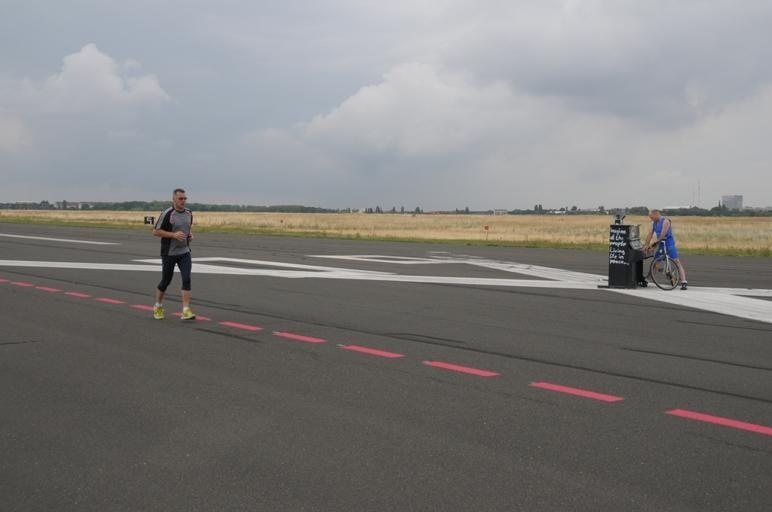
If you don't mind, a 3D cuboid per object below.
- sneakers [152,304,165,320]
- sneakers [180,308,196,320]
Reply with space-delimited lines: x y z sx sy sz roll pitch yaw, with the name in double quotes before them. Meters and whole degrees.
"sneakers" -4.647 1.153 11.108 0.186 0.210 0.449 2 -3 -34
"sneakers" -3.990 1.169 10.923 0.171 0.169 0.364 3 -3 -38
